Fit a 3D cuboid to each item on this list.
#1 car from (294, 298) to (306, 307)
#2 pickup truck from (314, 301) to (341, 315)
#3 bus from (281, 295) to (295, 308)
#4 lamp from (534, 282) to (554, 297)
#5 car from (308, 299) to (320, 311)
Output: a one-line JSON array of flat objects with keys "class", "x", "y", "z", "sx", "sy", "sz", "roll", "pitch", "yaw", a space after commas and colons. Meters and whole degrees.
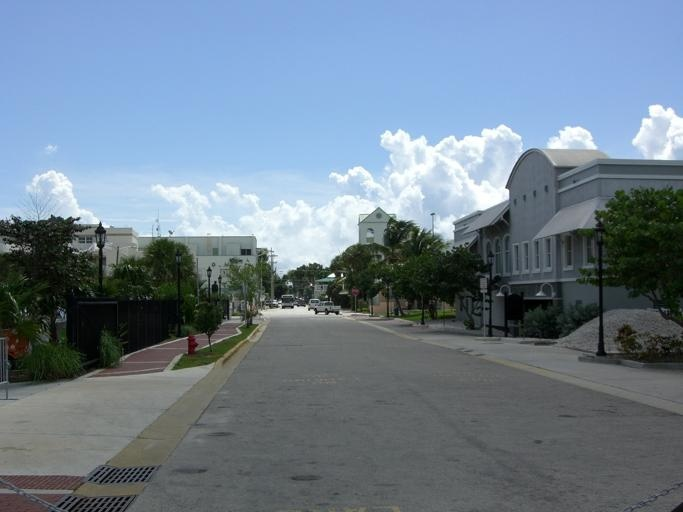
[{"class": "car", "x": -12.672, "y": 13.893, "z": 202.033, "sx": 1.997, "sy": 2.039, "sz": 3.976, "roll": 0, "pitch": -6, "yaw": -4}, {"class": "pickup truck", "x": -2.076, "y": 6.749, "z": 87.473, "sx": 2.501, "sy": 1.299, "sz": 1.743, "roll": 2, "pitch": -2, "yaw": 7}, {"class": "bus", "x": -11.689, "y": 9.756, "z": 145.092, "sx": 1.909, "sy": 2.131, "sz": 3.625, "roll": 0, "pitch": -6, "yaw": -3}, {"class": "lamp", "x": 10.809, "y": 1.822, "z": 35.903, "sx": 0.848, "sy": 0.693, "sz": 0.534, "roll": 1, "pitch": -2, "yaw": 4}, {"class": "car", "x": -4.654, "y": 7.909, "z": 108.744, "sx": 1.447, "sy": 1.535, "sz": 2.758, "roll": 0, "pitch": 2, "yaw": -3}]
